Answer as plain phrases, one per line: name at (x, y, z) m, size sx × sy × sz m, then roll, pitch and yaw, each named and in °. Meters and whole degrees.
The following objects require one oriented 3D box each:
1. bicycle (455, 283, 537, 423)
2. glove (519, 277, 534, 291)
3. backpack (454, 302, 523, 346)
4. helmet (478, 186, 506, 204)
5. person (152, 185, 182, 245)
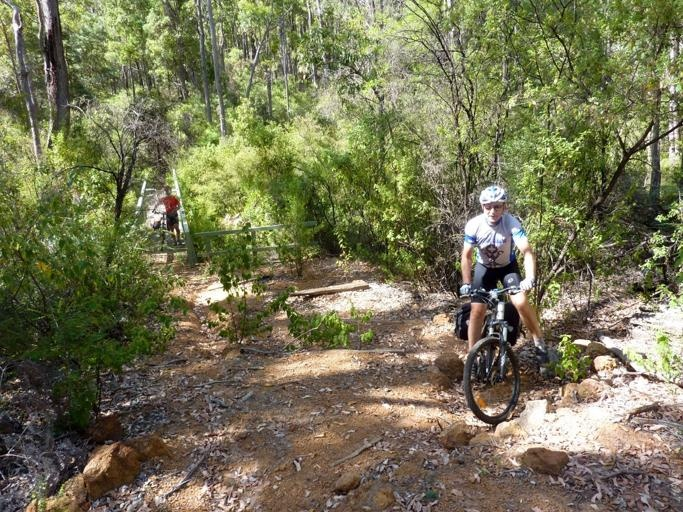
bicycle at (1.705, 1.076, 5.707) m, size 0.634 × 1.482 × 1.157 m, roll 5°, pitch 13°, yaw 34°
glove at (2.040, 0.329, 5.456) m, size 0.145 × 0.160 × 0.215 m, roll 1°, pitch 12°, yaw 18°
backpack at (1.781, 0.813, 5.972) m, size 0.468 × 0.351 × 0.745 m, roll 0°, pitch 9°, yaw 15°
helmet at (1.783, -0.714, 5.841) m, size 0.267 × 0.205 × 0.279 m, roll -1°, pitch 11°, yaw 8°
person at (-5.317, -1.223, 15.182) m, size 0.792 × 1.719 × 1.010 m, roll -7°, pitch 12°, yaw -23°
